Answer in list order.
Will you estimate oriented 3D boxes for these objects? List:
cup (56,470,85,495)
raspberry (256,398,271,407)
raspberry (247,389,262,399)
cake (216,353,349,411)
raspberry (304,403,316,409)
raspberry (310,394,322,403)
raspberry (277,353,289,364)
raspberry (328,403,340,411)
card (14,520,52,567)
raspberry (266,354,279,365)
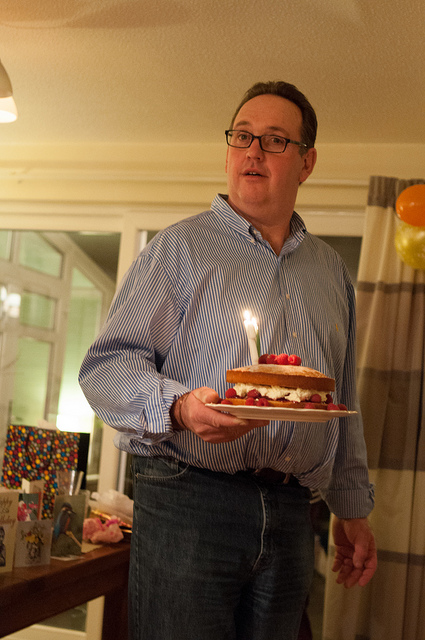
[{"bbox_3d":[-0.389,0.437,1.505,0.073,0.071,0.072,2,-6,0],"label":"cup"},{"bbox_3d":[0.064,0.101,0.675,0.012,0.005,0.015,11,-4,-4],"label":"raspberry"},{"bbox_3d":[0.056,0.100,0.744,0.016,0.007,0.014,0,3,6],"label":"raspberry"},{"bbox_3d":[0.105,0.091,0.855,0.186,0.068,0.186,10,2,24],"label":"cake"},{"bbox_3d":[0.122,0.108,0.685,0.011,0.007,0.008,-3,-1,44],"label":"raspberry"},{"bbox_3d":[0.150,0.114,0.794,0.016,0.012,0.020,3,-7,7],"label":"raspberry"},{"bbox_3d":[0.109,0.061,0.847,0.016,0.016,0.015,1,2,-26],"label":"raspberry"},{"bbox_3d":[0.159,0.112,0.716,0.011,0.007,0.014,8,3,11],"label":"raspberry"},{"bbox_3d":[-0.422,0.521,1.282,0.002,0.106,0.113,-21,-30,23],"label":"card"},{"bbox_3d":[0.091,0.061,0.844,0.014,0.015,0.014,1,3,7],"label":"raspberry"}]
